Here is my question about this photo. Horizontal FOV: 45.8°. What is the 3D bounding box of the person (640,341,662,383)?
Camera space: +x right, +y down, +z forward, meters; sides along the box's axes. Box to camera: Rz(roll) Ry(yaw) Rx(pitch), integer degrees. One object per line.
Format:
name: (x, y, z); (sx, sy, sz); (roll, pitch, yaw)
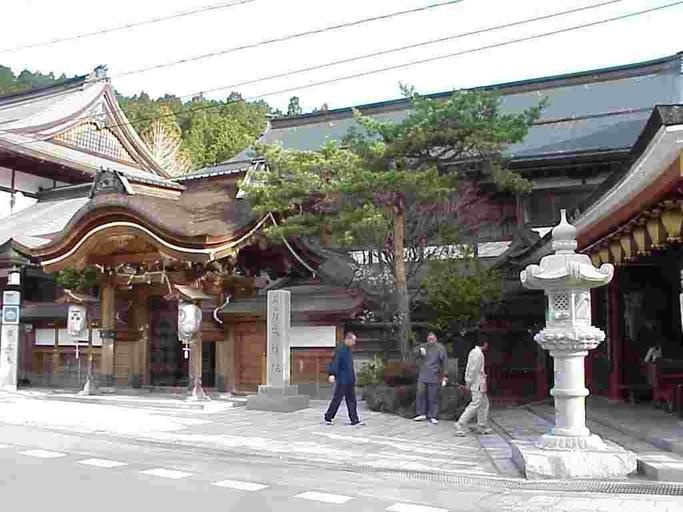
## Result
person: (7.332, 2.537, 19.021); (0.192, 0.930, 0.315); (17, -22, -28)

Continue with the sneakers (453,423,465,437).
sneakers: (2.594, 3.723, 17.347); (0.266, 0.364, 0.209); (-7, -9, 44)

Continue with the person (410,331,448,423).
person: (2.109, 2.877, 19.088); (0.614, 2.034, 1.000); (1, 1, -24)

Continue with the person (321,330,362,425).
person: (0.050, 2.840, 18.697); (0.832, 2.062, 0.993); (1, 1, 1)
